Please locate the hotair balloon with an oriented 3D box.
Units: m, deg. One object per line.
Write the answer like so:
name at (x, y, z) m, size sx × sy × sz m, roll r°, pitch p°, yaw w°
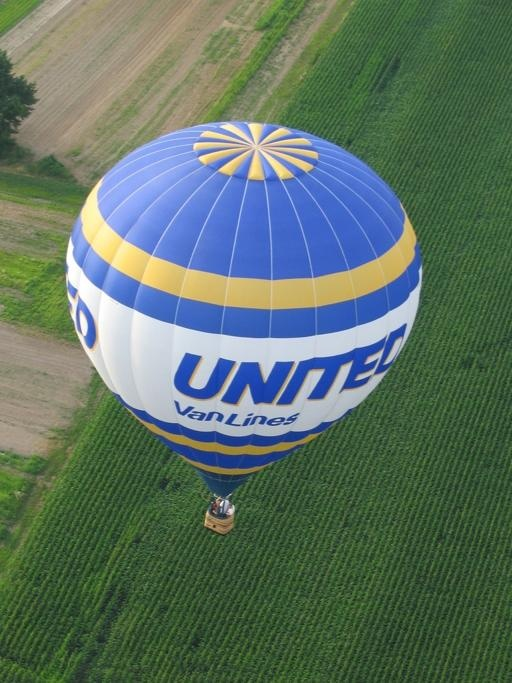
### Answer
hotair balloon at (-0.347, -0.090, 13.942) m, size 5.252 × 6.647 × 5.435 m, roll 28°, pitch 37°, yaw 27°
